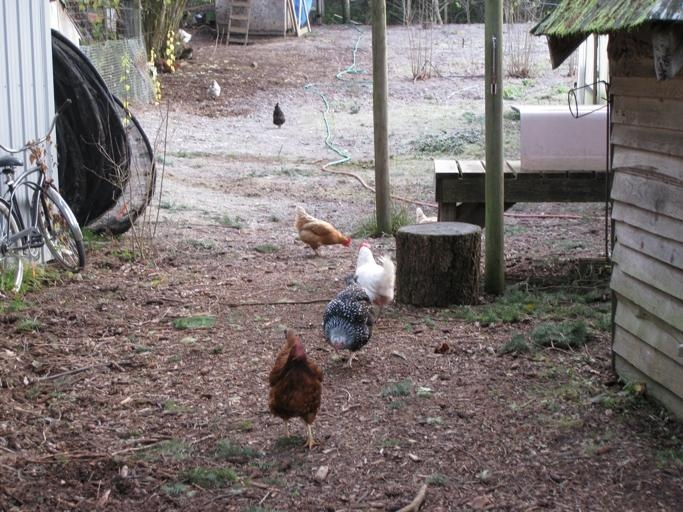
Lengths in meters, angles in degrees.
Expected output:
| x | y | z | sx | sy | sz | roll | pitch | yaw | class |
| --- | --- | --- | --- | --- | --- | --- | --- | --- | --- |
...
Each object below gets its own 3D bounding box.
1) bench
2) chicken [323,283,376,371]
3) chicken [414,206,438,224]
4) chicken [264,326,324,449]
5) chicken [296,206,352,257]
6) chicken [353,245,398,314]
| x | y | z | sx | sy | sz | roll | pitch | yaw | class |
| --- | --- | --- | --- | --- | --- | --- | --- | --- | --- |
| 2.187 | -0.730 | 11.051 | 1.997 | 0.819 | 0.756 | 0 | 15 | 7 | bench |
| 0.062 | 0.653 | 8.771 | 0.481 | 0.794 | 0.746 | 1 | 15 | -6 | chicken |
| 1.135 | -0.526 | 11.760 | 0.295 | 0.152 | 0.388 | 6 | 6 | 43 | chicken |
| -0.403 | 1.153 | 7.789 | 0.473 | 0.978 | 0.402 | -3 | 15 | -4 | chicken |
| -0.277 | -0.353 | 12.191 | 0.630 | 0.667 | 0.673 | 9 | 18 | 34 | chicken |
| 0.400 | 0.238 | 9.894 | 0.418 | 0.729 | 0.545 | -4 | 20 | -20 | chicken |
